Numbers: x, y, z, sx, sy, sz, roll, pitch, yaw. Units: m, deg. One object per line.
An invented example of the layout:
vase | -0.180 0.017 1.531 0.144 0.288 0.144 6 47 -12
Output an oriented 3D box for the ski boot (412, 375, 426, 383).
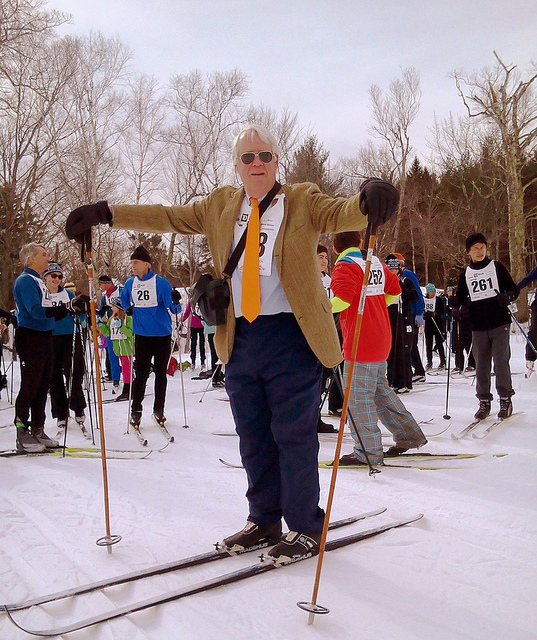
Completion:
ski boot | 2.402 0.941 8.849 0.190 0.110 0.341 -1 -1 13

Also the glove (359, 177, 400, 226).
glove | 0.414 -0.455 2.090 0.141 0.227 0.221 -1 -1 10

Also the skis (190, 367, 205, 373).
skis | -1.468 1.026 11.243 0.200 0.095 0.141 -9 -7 0

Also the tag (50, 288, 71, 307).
tag | -2.229 -0.230 5.847 0.171 0.265 0.132 4 -15 -20

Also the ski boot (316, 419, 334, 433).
ski boot | 0.561 1.037 5.414 0.201 0.124 0.183 0 -1 -8

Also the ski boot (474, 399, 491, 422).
ski boot | 2.034 0.871 5.304 0.135 0.193 0.387 -1 -2 32

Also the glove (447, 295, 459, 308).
glove | 1.899 -0.184 5.668 0.059 0.085 0.115 -14 19 9

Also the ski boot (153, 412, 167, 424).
ski boot | -1.141 1.018 5.721 0.117 0.110 0.147 0 -1 -18

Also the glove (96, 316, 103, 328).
glove | -2.488 0.030 8.090 0.099 0.153 0.033 10 27 41

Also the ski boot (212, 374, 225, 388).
ski boot | -0.824 0.969 8.821 0.167 0.199 0.544 0 -1 -7

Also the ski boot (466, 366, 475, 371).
ski boot | 3.693 0.891 10.078 0.128 0.073 0.249 7 0 17

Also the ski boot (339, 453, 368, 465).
ski boot | 0.628 1.036 4.102 0.198 0.096 0.073 -4 -10 13

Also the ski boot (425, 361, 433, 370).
ski boot | 3.210 0.922 11.053 0.101 0.259 0.135 -4 -11 29

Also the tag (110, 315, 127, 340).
tag | -2.260 0.122 8.110 0.202 0.372 0.092 -2 1 21

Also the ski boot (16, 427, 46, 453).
ski boot | -2.074 1.037 4.791 0.214 0.188 0.261 0 -2 -27

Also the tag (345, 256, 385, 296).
tag | 0.683 -0.315 4.179 0.264 0.425 0.390 3 13 6

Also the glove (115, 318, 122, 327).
glove | -2.204 0.051 8.099 0.081 0.172 0.112 -4 0 -3

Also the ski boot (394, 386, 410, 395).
ski boot | 1.844 0.964 7.560 0.313 0.105 0.093 1 -2 -41

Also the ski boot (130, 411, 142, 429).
ski boot | -1.346 1.001 5.583 0.068 0.207 0.083 14 -43 -38

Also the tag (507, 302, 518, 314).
tag | 2.287 -0.110 5.162 0.022 0.089 0.089 1 -32 -7

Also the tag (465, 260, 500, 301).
tag | 2.111 -0.382 5.412 0.282 0.459 0.249 -11 -17 35

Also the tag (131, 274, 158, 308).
tag | -1.309 -0.292 5.818 0.249 0.392 0.196 -3 -15 8

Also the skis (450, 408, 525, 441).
skis | 2.050 0.956 5.053 0.278 0.092 1.054 0 11 36

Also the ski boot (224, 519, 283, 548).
ski boot | -0.057 0.923 2.421 0.261 0.127 0.091 4 -16 -30

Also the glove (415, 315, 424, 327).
glove | 2.423 0.020 8.894 0.196 0.229 0.065 2 2 18

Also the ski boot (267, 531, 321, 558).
ski boot | 0.111 0.934 2.337 0.240 0.119 0.083 3 -8 -30

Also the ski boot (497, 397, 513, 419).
ski boot | 2.282 0.845 5.322 0.124 0.180 0.292 -1 -1 23

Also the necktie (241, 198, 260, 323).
necktie | -0.075 -0.236 2.259 0.058 0.497 0.066 -5 -18 11

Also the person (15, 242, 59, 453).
person | -2.108 0.202 4.983 0.348 1.871 0.622 0 -1 -26

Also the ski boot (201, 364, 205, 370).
ski boot | -1.342 0.964 11.177 0.086 0.138 0.132 -1 -13 0

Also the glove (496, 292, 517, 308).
glove | 2.230 -0.198 5.186 0.104 0.165 0.048 8 4 5
